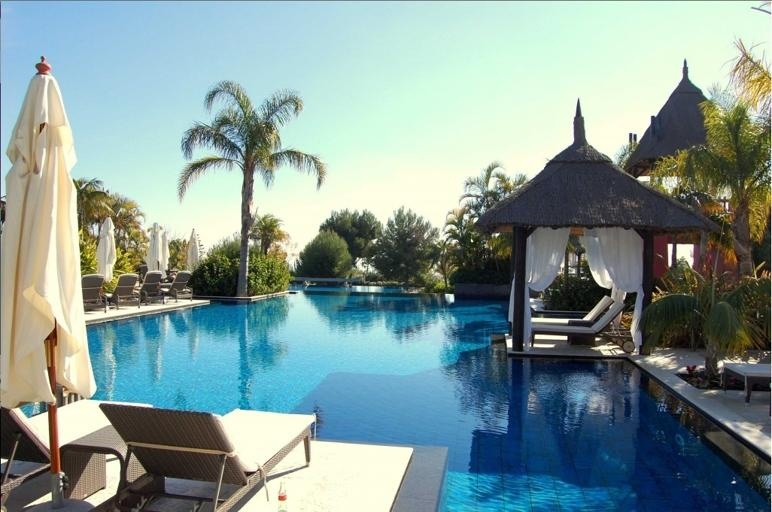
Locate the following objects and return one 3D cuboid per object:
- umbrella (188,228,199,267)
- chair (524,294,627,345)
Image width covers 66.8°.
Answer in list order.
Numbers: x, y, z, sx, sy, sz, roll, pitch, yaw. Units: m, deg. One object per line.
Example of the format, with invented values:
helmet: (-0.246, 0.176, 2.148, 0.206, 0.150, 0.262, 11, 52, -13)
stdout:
umbrella: (-8.082, -0.299, 24.694, 0.479, 1.771, 0.654, 0, -1, -38)
chair: (4.467, 1.610, 13.846, 1.778, 0.938, 1.332, 1, -3, 7)
